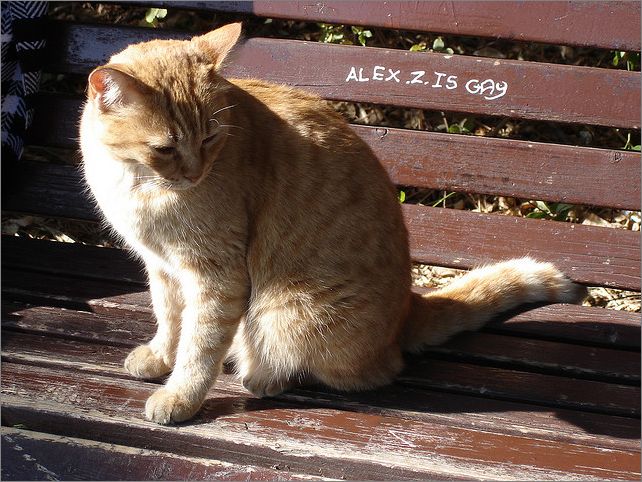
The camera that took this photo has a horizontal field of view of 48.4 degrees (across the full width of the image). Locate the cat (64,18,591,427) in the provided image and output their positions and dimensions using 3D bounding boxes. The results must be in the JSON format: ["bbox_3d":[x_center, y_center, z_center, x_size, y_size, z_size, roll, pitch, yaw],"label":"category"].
[{"bbox_3d":[-0.199,-0.166,2.836,1.063,1.121,1.969,20,21,40],"label":"cat"}]
